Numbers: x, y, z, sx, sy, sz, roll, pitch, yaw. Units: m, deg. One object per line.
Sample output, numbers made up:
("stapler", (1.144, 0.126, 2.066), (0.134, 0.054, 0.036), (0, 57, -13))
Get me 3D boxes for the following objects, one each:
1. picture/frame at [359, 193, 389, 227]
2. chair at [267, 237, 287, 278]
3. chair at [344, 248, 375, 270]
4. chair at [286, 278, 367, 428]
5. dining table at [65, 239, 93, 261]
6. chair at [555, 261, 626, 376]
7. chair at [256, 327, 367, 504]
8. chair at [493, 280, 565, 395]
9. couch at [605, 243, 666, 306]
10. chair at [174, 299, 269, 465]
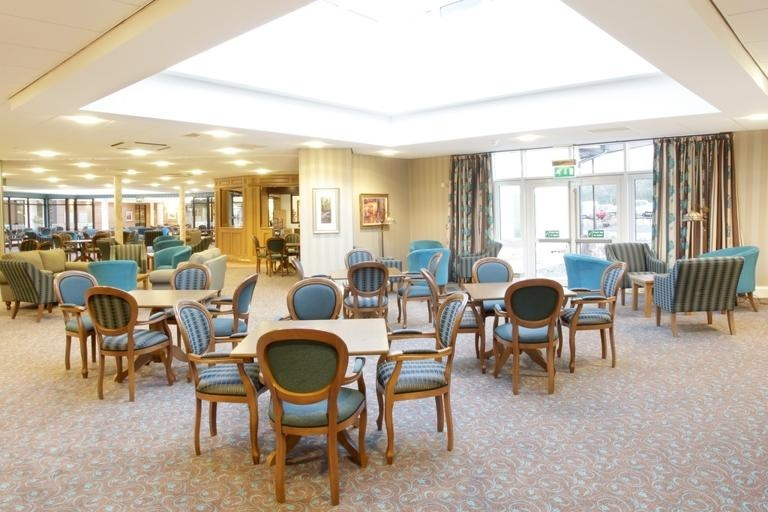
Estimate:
("picture/frame", (-0.232, -1.110, 12.060), (0.067, 0.756, 1.010), (-9, 10, -43))
("chair", (-3.241, -0.002, 14.672), (0.801, 1.060, 0.829), (0, 1, 2))
("chair", (-0.466, 0.048, 9.102), (0.426, 0.544, 0.449), (0, -3, -7))
("chair", (-0.794, 0.793, 6.218), (1.264, 1.537, 1.140), (-1, 3, -6))
("dining table", (-10.705, -0.190, 17.197), (1.069, 0.799, 0.956), (-1, -2, -2))
("chair", (2.744, 0.778, 6.471), (0.710, 1.303, 1.276), (6, 16, 24))
("chair", (-0.547, 1.258, 4.089), (0.885, 1.445, 0.619), (-5, 16, -14))
("chair", (1.660, 0.862, 5.774), (0.780, 1.353, 0.875), (3, 16, 16))
("couch", (4.944, 0.319, 9.739), (1.133, 1.006, 1.099), (8, 20, 36))
("chair", (-1.570, 1.140, 4.772), (0.693, 1.314, 1.248), (-7, 16, -21))
